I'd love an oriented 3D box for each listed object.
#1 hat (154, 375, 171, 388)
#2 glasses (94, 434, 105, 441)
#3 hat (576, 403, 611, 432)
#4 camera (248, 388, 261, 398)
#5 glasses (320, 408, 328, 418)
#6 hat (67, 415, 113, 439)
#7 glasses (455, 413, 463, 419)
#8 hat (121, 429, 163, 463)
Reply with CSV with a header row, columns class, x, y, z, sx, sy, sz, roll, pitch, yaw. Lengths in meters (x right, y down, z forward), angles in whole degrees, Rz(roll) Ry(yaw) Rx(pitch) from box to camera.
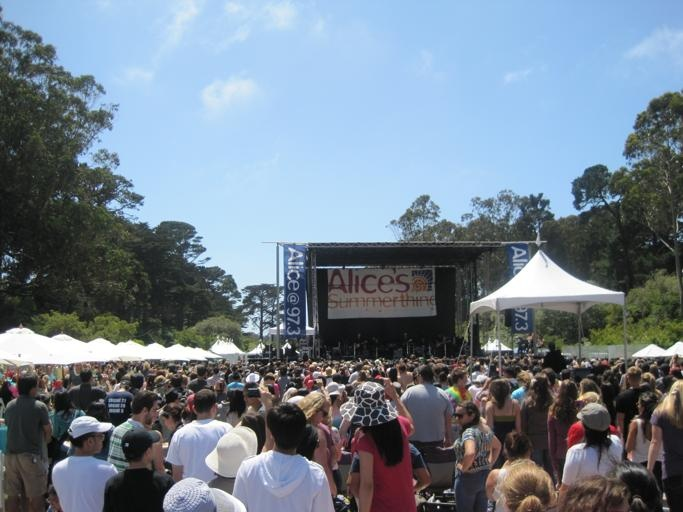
class,x,y,z,sx,sy,sz,roll,pitch,yaw
hat,-3.285,2.292,13.013,0.264,0.147,0.404,-1,-3,4
glasses,-2.651,1.992,7.826,0.067,0.085,0.121,16,-13,9
hat,2.817,1.800,7.899,0.322,0.296,0.200,-2,-7,8
camera,-1.123,1.745,9.028,0.164,0.131,0.096,1,0,1
glasses,-0.196,1.806,8.138,0.081,0.037,0.083,9,2,27
hat,-2.771,1.878,7.796,0.352,0.149,0.229,-3,14,-29
glasses,1.438,1.956,8.592,0.086,0.038,0.082,9,-7,-39
hat,-2.061,1.898,7.110,0.300,0.326,0.157,1,-7,-11
